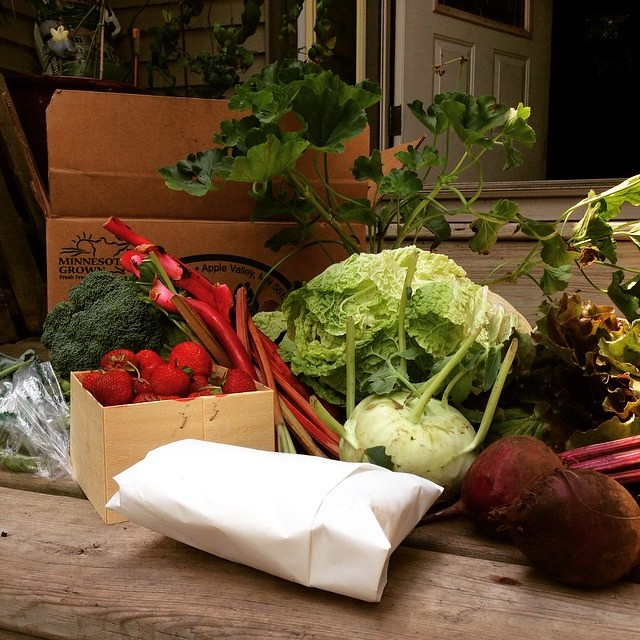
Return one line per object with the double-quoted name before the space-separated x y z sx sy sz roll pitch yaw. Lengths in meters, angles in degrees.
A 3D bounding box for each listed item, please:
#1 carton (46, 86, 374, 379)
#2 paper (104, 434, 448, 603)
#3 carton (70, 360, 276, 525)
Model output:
"carton" -0.263 -0.107 1.640 1.024 0.584 0.503 1 4 -6
"paper" -0.062 0.208 0.695 0.355 0.102 0.157 3 11 20
"carton" -0.211 0.142 0.853 0.234 0.118 0.217 -3 6 -26
